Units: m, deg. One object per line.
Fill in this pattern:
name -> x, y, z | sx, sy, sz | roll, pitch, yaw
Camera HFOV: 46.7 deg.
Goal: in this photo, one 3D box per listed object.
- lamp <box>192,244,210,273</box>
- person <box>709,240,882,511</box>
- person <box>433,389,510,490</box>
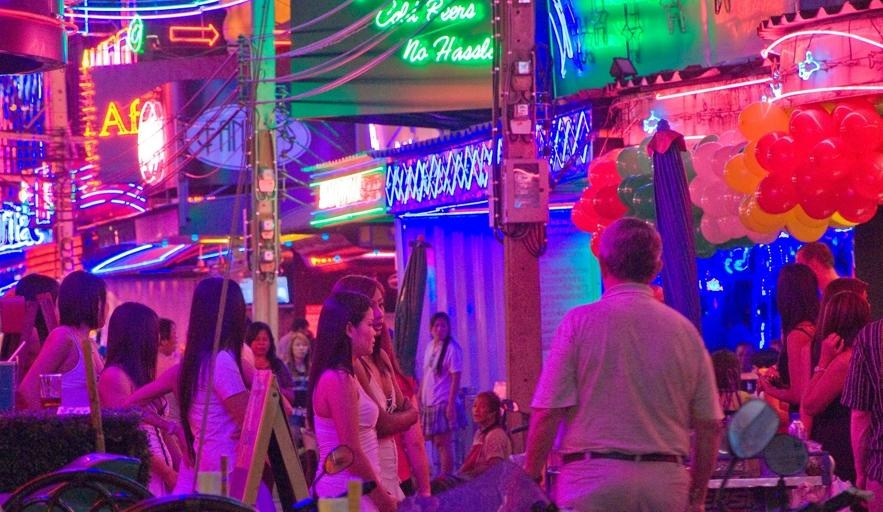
lamp -> -6.818, 0.047, 29.278 | 0.354, 0.896, 0.877 | 4, -10, -29
person -> 4.685, 1.413, 12.721 | 0.733, 2.748, 1.429 | 2, -8, -16
person -> 0.420, 2.514, 13.750 | 1.003, 1.355, 0.958 | 13, -18, -25
